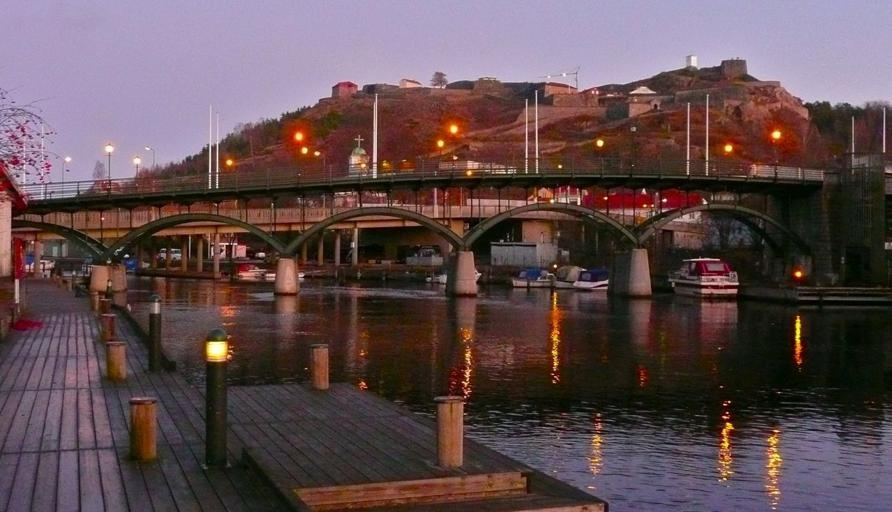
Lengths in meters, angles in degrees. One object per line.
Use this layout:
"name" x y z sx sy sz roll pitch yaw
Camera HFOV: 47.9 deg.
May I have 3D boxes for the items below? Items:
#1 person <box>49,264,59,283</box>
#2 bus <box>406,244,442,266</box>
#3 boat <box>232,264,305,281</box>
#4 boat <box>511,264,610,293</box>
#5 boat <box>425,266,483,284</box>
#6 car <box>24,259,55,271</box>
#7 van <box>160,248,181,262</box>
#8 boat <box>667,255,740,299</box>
"person" -42.236 1.906 108.001 1.226 1.989 1.142 -2 -5 1
"bus" -2.864 -0.264 143.975 4.901 2.864 20.371 0 0 -1
"boat" -21.020 2.007 117.584 10.346 1.783 2.507 2 7 6
"boat" 12.464 2.452 109.856 4.937 2.334 11.933 0 0 -29
"boat" 0.770 2.370 123.439 9.188 2.519 2.427 -2 -2 39
"car" -53.094 1.215 130.592 5.109 1.209 1.225 -1 16 28
"van" -48.021 -0.151 174.957 4.259 1.826 2.188 -2 6 -5
"boat" 24.515 2.052 94.817 3.326 3.590 7.364 0 0 -7
